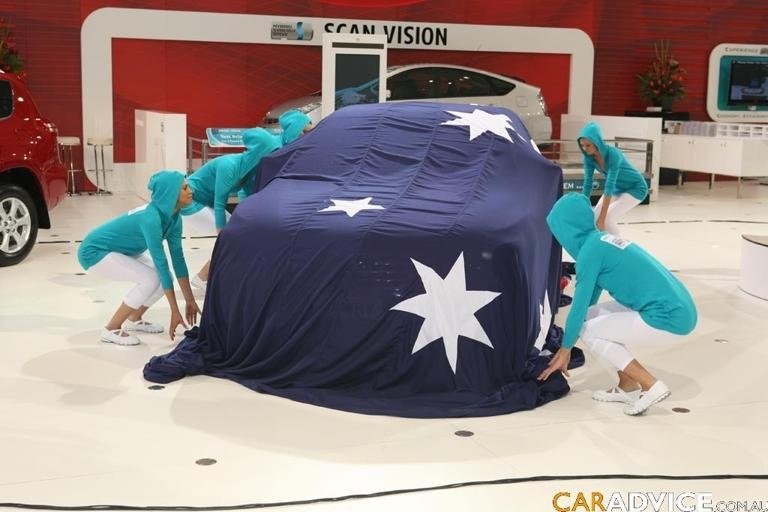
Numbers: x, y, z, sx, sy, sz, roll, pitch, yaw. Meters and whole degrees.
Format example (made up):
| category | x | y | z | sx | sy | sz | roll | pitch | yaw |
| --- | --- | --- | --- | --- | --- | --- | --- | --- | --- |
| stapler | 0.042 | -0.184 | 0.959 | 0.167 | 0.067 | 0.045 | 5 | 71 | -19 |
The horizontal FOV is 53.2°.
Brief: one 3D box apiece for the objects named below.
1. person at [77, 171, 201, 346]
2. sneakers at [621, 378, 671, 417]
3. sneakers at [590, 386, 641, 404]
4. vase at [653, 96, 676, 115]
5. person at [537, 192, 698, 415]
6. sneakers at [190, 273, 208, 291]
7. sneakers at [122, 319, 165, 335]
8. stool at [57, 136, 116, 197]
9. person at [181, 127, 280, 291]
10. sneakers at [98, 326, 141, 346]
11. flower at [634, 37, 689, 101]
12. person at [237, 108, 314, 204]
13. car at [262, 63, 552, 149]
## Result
| category | x | y | z | sx | sy | sz | roll | pitch | yaw |
| --- | --- | --- | --- | --- | --- | --- | --- | --- | --- |
| person | -1.943 | 0.016 | 6.238 | 1.082 | 1.406 | 0.592 | 8 | 10 | 38 |
| sneakers | 1.804 | 0.975 | 5.361 | 0.385 | 0.177 | 0.162 | -37 | -17 | 11 |
| sneakers | 1.648 | 1.000 | 5.461 | 0.265 | 0.108 | 0.136 | 4 | 5 | 11 |
| vase | 5.452 | -2.949 | 14.920 | 0.355 | 0.297 | 0.328 | 0 | 5 | 8 |
| person | 1.622 | 0.329 | 5.353 | 1.016 | 1.501 | 0.384 | 1 | 7 | -3 |
| sneakers | -1.788 | 0.258 | 7.403 | 0.106 | 0.141 | 0.319 | 29 | 6 | 4 |
| sneakers | -2.048 | 0.600 | 6.538 | 0.332 | 0.145 | 0.132 | -1 | 7 | -8 |
| stool | -5.101 | -1.523 | 13.062 | 0.880 | 1.160 | 0.939 | 3 | 7 | 17 |
| person | -1.557 | -0.438 | 7.398 | 0.876 | 1.698 | 0.512 | 11 | 3 | 6 |
| sneakers | -2.165 | 0.663 | 6.263 | 0.259 | 0.106 | 0.149 | 5 | 12 | 11 |
| flower | 5.484 | -3.472 | 14.879 | 0.800 | 1.228 | 0.872 | 10 | 17 | 28 |
| person | -1.045 | -0.958 | 7.242 | 0.645 | 0.833 | 0.455 | 3 | 8 | 9 |
| car | 0.452 | -2.531 | 12.268 | 4.602 | 1.320 | 1.929 | -1 | 9 | -19 |
